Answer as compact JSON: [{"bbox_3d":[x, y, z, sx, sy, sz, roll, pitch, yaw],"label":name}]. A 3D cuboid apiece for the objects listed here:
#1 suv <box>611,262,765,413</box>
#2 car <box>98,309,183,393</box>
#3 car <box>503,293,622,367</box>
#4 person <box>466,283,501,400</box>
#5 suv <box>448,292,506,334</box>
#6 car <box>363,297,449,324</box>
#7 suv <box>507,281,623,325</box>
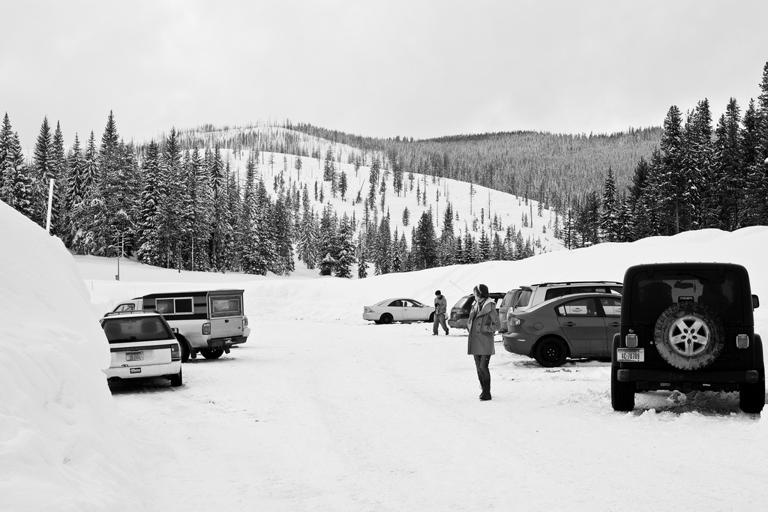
[{"bbox_3d":[5.762,1.412,14.459,1.929,2.108,3.317,0,1,12],"label":"suv"},{"bbox_3d":[-5.480,2.199,17.613,1.623,1.743,0.940,-1,2,-24],"label":"car"},{"bbox_3d":[4.668,1.881,20.284,2.783,1.303,1.614,-4,0,-5],"label":"car"},{"bbox_3d":[2.166,1.824,16.760,0.670,2.438,1.293,0,2,6],"label":"person"},{"bbox_3d":[4.488,2.436,32.700,3.391,1.713,1.463,0,0,-20],"label":"suv"},{"bbox_3d":[0.682,2.914,39.947,3.011,1.086,1.569,-2,-2,-13],"label":"car"},{"bbox_3d":[5.248,1.608,21.697,2.987,1.169,1.563,-5,1,-10],"label":"suv"}]
